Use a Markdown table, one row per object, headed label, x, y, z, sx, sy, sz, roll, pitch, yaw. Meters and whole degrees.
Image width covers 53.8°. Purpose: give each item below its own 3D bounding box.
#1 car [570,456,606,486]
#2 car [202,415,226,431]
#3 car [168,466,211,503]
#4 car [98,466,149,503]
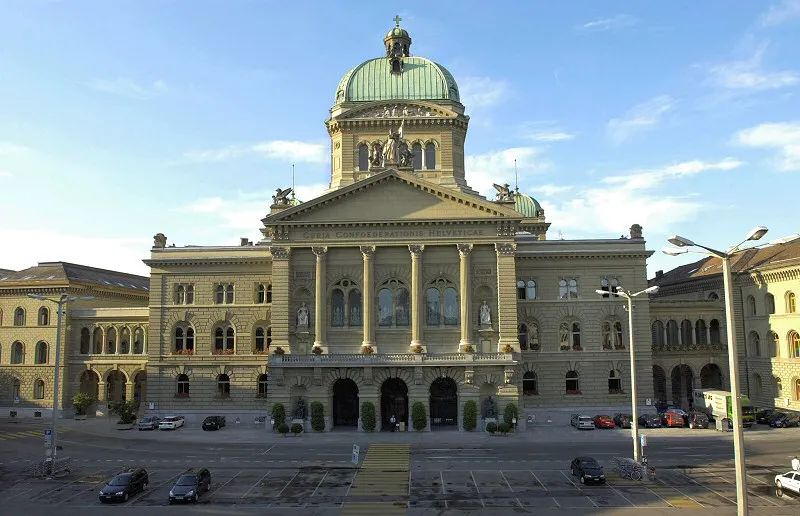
| label | x | y | z | sx | sy | sz | roll | pitch | yaw |
| --- | --- | --- | --- | --- | --- | --- | --- | --- | --- |
| car | 18.906 | 21.710 | 80.091 | 1.819 | 2.624 | 3.043 | 8 | -15 | -35 |
| car | -23.994 | 21.689 | 103.099 | 1.855 | 1.890 | 3.133 | -6 | -12 | 18 |
| car | -20.262 | 22.333 | 76.985 | 2.071 | 3.049 | 3.569 | -12 | -16 | 39 |
| car | -26.889 | 22.415 | 77.416 | 2.067 | 3.084 | 4.044 | -9 | -14 | 30 |
